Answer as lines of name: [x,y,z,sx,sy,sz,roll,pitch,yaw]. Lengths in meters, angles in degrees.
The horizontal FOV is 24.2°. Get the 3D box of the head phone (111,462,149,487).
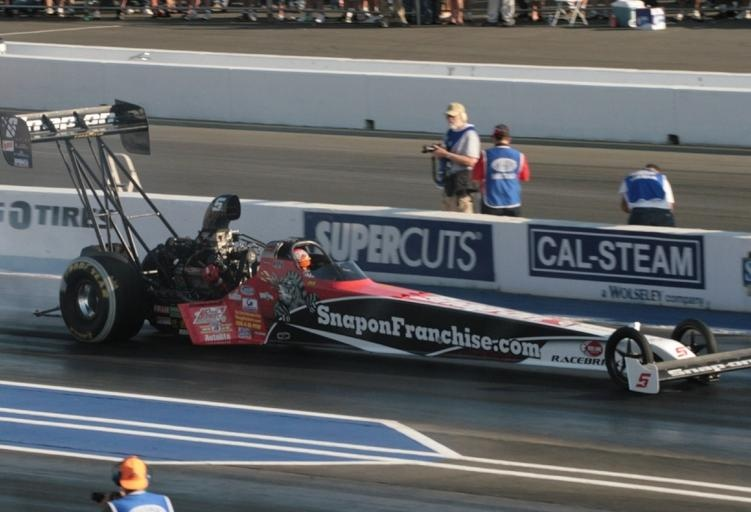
head phone: [-2.976,2.648,21.179,0.327,0.172,0.387,-3,18,-30]

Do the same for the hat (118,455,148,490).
hat: [-2.996,2.678,21.270,0.369,0.395,0.212,-10,-33,-25]

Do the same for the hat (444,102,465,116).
hat: [1.326,-2.313,27.500,0.406,0.162,0.272,8,-3,-27]

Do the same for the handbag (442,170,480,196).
handbag: [1.322,-1.119,27.595,0.535,0.307,0.398,-12,13,25]

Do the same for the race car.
race car: [1.183,-0.294,25.656,12.169,3.320,4.290,3,10,20]
